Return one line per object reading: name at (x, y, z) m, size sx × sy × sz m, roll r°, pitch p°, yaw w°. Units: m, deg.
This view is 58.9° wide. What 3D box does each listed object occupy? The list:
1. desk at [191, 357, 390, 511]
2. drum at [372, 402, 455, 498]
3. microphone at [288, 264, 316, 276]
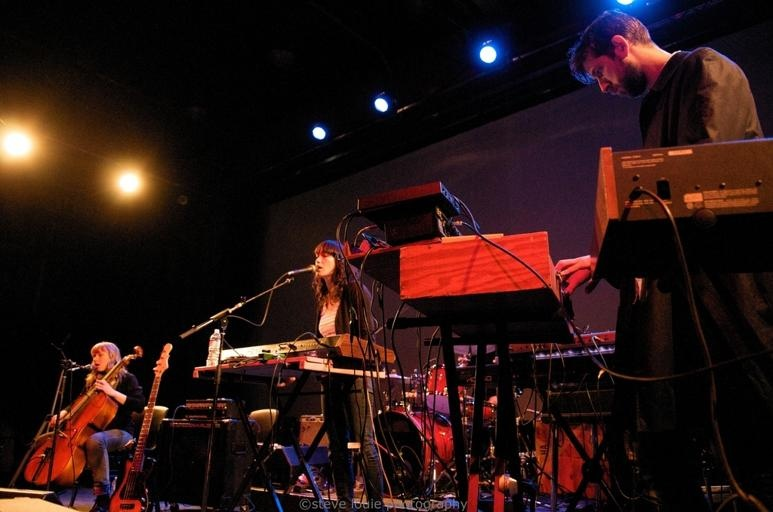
desk at (-0.863, 1.657, 6.170) m, size 2.026 × 1.398 × 1.042 m, roll -11°, pitch -17°, yaw 42°
drum at (0.232, 1.901, 6.551) m, size 0.790 × 1.214 × 0.740 m, roll 1°, pitch -6°, yaw 0°
microphone at (-0.944, 0.167, 7.772) m, size 0.100 × 0.104 × 0.433 m, roll -4°, pitch 2°, yaw 41°
